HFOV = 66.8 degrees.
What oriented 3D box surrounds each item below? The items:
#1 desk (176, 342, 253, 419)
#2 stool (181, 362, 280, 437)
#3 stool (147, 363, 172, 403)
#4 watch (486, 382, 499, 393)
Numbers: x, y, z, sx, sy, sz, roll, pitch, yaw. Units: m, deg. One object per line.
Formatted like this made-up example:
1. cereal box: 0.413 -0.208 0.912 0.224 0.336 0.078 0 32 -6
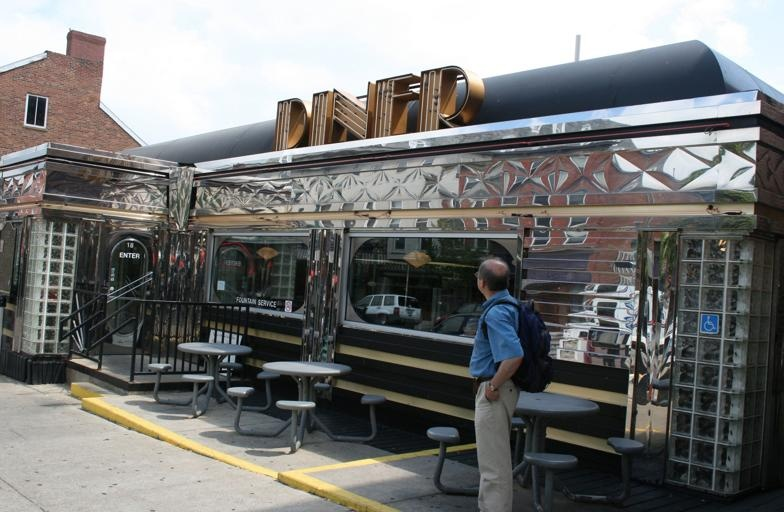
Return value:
1. desk: -2.691 1.760 8.903 0.970 0.570 0.899 6 -18 -26
2. stool: -2.451 1.985 8.537 1.229 0.373 0.878 3 1 39
3. stool: -3.625 1.895 9.236 0.294 0.564 0.863 1 4 -20
4. watch: 0.884 1.170 5.274 0.080 0.042 0.083 3 -4 -15
